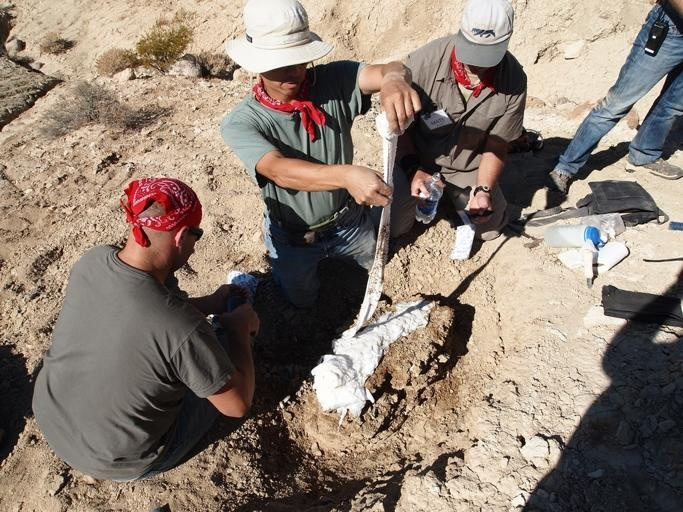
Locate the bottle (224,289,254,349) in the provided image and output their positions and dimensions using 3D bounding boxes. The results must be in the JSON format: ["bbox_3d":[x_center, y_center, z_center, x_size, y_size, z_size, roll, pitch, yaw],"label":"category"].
[{"bbox_3d":[-0.889,0.478,4.999,0.255,0.126,0.383,20,96,10],"label":"bottle"}]

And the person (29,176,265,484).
[{"bbox_3d":[-1.440,0.626,4.528,1.124,1.696,1.222,37,46,9],"label":"person"}]

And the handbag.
[{"bbox_3d":[2.544,-0.506,5.460,0.453,0.171,0.502,-3,35,5],"label":"handbag"}]

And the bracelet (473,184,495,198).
[{"bbox_3d":[1.219,-0.579,5.193,0.125,0.136,0.090,3,79,-5],"label":"bracelet"}]

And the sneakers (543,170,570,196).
[{"bbox_3d":[2.095,-0.766,5.853,0.143,0.356,0.124,-31,47,13],"label":"sneakers"}]

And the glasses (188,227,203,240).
[{"bbox_3d":[-1.030,-0.170,4.246,0.060,0.087,0.093,9,101,9],"label":"glasses"}]
